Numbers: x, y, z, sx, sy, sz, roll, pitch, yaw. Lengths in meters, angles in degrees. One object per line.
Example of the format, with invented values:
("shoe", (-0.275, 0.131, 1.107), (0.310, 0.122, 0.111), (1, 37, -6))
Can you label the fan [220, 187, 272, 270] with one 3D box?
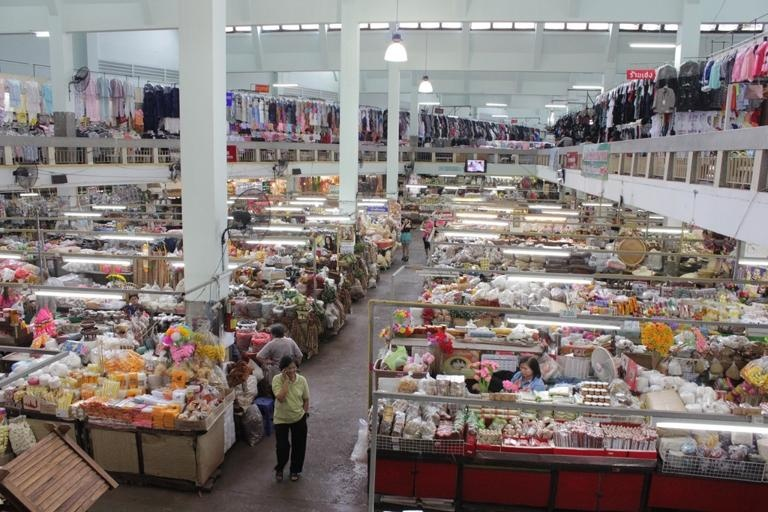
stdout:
("fan", (-2.326, -0.509, 9.585), (0.828, 1.342, 1.145), (-4, 12, -13))

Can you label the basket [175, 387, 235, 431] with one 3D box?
("basket", (-2.597, 2.209, 8.292), (0.396, 0.336, 0.846), (2, 12, 14))

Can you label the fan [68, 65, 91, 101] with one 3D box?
("fan", (-9.221, -5.383, 17.476), (0.896, 0.734, 0.595), (6, 14, 34))

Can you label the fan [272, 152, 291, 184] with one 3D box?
("fan", (-4.493, -3.733, 24.041), (0.624, 1.074, 1.077), (-1, 20, -8))

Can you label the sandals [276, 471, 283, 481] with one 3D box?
("sandals", (-1.519, 3.178, 8.282), (0.074, 0.130, 0.044), (5, 10, -1))

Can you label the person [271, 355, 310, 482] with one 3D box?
("person", (-1.370, 2.310, 8.286), (0.547, 1.825, 0.430), (-4, 12, -11))

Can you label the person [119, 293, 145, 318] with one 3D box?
("person", (-4.865, 0.954, 11.009), (0.561, 0.711, 0.309), (0, -9, -22))

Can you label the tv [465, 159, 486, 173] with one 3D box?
("tv", (4.757, -4.714, 29.823), (1.123, 0.696, 0.530), (0, 12, 6))
